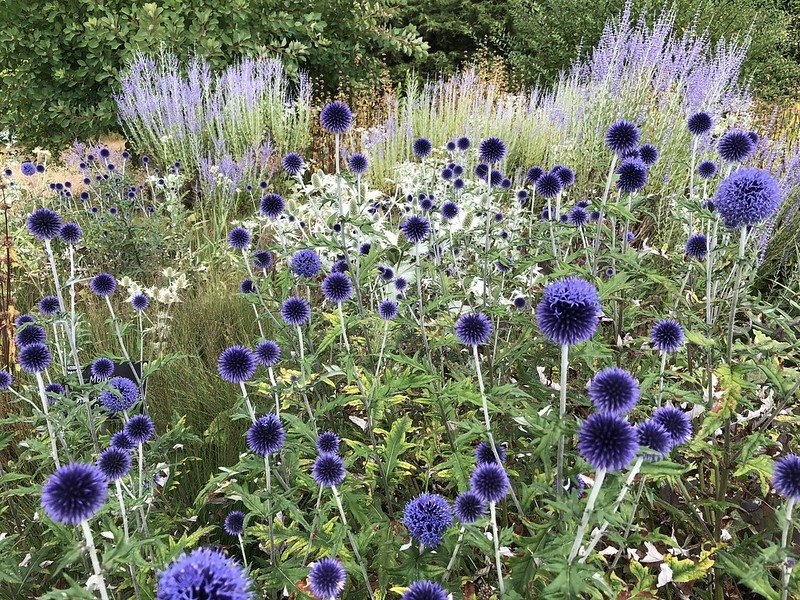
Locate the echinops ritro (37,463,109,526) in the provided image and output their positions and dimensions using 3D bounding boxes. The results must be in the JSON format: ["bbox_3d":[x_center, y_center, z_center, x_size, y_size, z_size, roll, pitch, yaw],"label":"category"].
[{"bbox_3d":[-1.832,1.093,4.012,0.285,0.366,0.210,15,43,-41],"label":"echinops ritro"}]
